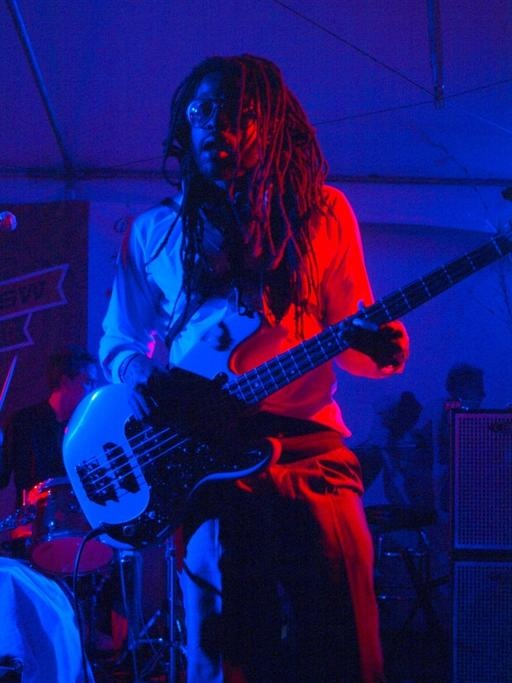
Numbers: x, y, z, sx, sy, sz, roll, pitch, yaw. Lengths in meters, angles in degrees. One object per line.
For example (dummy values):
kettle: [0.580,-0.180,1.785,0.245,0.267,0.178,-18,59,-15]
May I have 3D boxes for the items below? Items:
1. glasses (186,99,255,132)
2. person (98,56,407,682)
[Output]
glasses: [-0.118,-0.706,2.459,0.136,0.048,0.138,3,1,3]
person: [-0.007,0.022,2.335,0.891,1.955,0.335,-10,-12,11]
